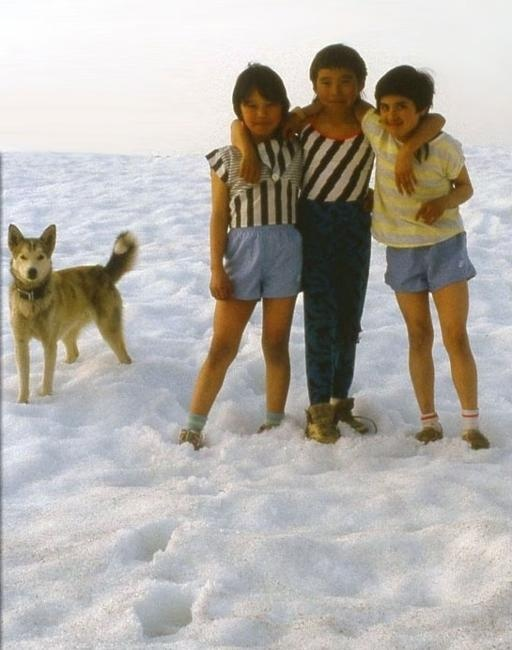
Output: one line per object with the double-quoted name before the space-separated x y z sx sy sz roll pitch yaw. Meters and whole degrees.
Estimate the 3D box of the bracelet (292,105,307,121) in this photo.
"bracelet" 0.197 -0.962 2.996 0.057 0.041 0.058 -3 -1 10

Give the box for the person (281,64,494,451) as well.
"person" 0.770 -0.270 3.008 0.615 1.707 0.360 1 12 14
